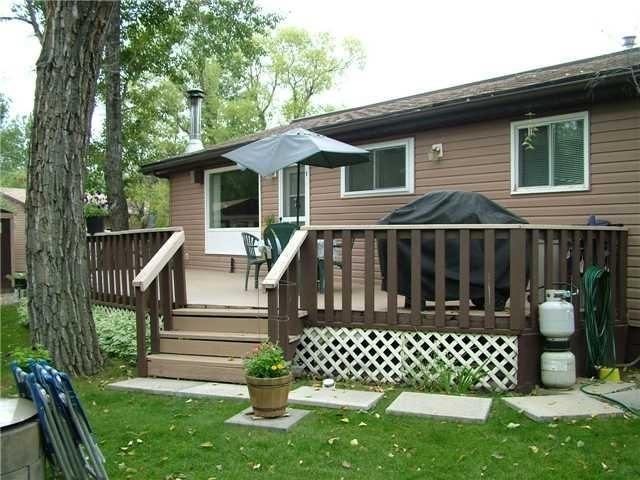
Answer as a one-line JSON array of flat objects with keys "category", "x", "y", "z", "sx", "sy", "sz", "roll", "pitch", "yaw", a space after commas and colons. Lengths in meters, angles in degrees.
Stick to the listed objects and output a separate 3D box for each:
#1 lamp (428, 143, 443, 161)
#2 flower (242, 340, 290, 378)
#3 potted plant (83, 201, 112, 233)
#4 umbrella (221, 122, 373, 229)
[{"category": "lamp", "x": 1.978, "y": -1.490, "z": 9.855, "sx": 0.170, "sy": 0.315, "sz": 0.294, "roll": 1, "pitch": 0, "yaw": -43}, {"category": "flower", "x": -0.581, "y": 1.269, "z": 6.100, "sx": 0.410, "sy": 0.312, "sz": 0.427, "roll": 1, "pitch": -7, "yaw": -14}, {"category": "potted plant", "x": -7.090, "y": -0.631, "z": 18.327, "sx": 0.602, "sy": 0.913, "sz": 1.534, "roll": 1, "pitch": -3, "yaw": -20}, {"category": "umbrella", "x": -0.330, "y": -1.018, "z": 8.903, "sx": 2.010, "sy": 1.464, "sz": 1.432, "roll": 2, "pitch": -3, "yaw": -25}]
